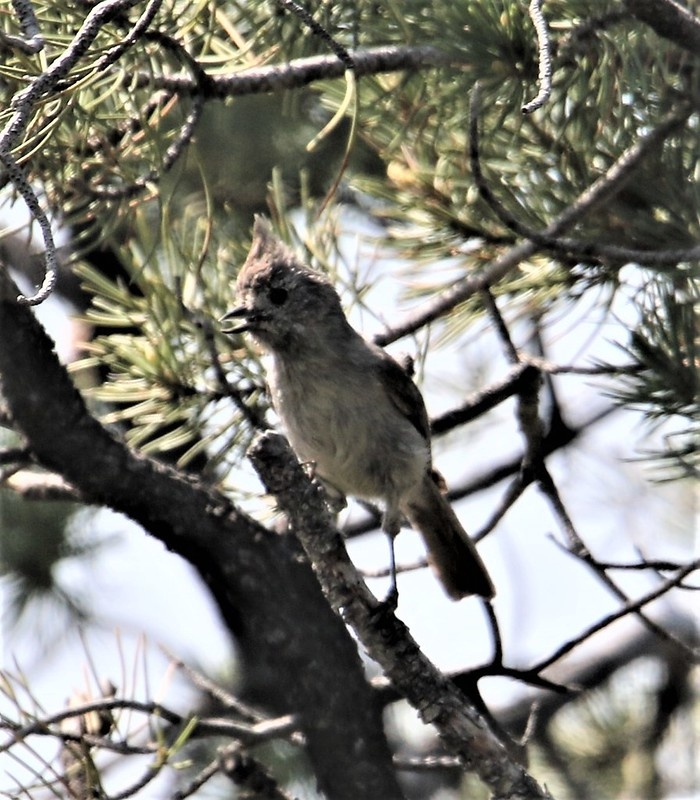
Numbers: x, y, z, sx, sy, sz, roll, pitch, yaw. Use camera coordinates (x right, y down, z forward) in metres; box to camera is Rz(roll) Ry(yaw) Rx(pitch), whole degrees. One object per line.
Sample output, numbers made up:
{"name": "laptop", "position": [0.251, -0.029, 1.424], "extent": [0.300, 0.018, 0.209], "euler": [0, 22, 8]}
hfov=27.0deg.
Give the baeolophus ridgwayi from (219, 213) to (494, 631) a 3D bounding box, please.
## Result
{"name": "baeolophus ridgwayi", "position": [-0.013, 0.033, 3.341], "extent": [0.898, 0.890, 0.316], "euler": [24, -41, -28]}
